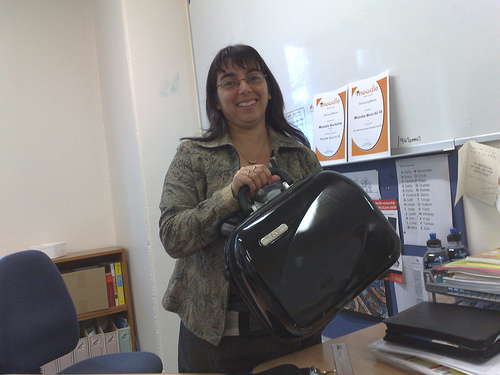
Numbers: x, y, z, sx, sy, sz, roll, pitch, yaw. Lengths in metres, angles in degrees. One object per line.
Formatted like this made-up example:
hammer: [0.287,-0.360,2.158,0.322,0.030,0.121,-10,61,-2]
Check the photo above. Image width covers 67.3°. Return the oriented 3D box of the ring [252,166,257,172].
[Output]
ring: [0.011,-0.052,1.019,0.014,0.015,0.004,-7,-10,32]

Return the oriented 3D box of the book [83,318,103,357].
book: [-1.124,1.078,2.672,0.085,0.252,0.261,-14,3,-17]

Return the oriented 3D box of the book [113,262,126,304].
book: [-0.980,0.724,2.799,0.036,0.355,0.268,-12,-2,-17]

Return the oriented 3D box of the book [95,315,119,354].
book: [-1.046,1.076,2.723,0.142,0.256,0.251,-11,8,-22]

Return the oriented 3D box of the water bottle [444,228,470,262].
water bottle: [0.729,0.196,1.329,0.076,0.109,0.083,-5,2,0]

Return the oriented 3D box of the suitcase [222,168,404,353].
suitcase: [0.153,0.151,0.891,0.408,0.272,0.152,-6,2,-21]

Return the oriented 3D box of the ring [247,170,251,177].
ring: [-0.004,-0.039,1.021,0.003,0.009,0.009,4,23,31]
